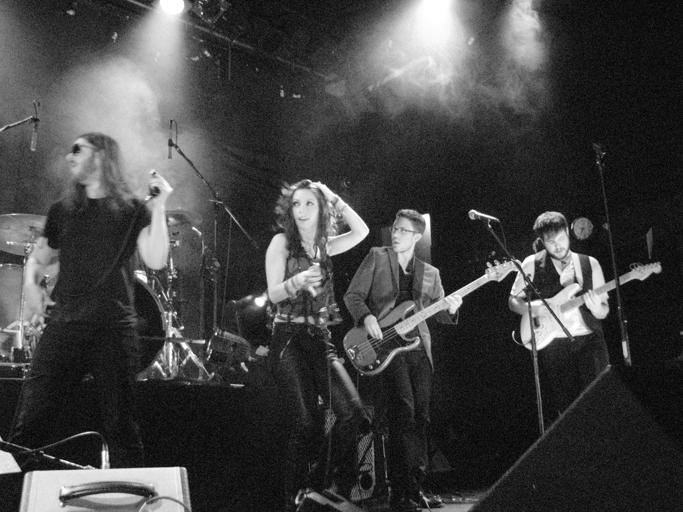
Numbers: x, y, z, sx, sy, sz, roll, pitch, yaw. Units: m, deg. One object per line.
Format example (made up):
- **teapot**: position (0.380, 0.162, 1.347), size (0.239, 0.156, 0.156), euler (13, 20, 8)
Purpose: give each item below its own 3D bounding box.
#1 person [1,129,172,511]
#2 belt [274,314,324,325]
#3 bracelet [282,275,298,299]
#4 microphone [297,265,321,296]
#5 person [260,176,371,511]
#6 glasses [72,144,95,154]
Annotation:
- **person**: position (-1.208, 0.165, 3.071), size (0.694, 1.656, 0.316), euler (3, -16, -11)
- **belt**: position (-0.239, 0.372, 3.673), size (0.290, 0.066, 0.051), euler (-2, -16, 2)
- **bracelet**: position (-0.293, 0.187, 3.704), size (0.104, 0.111, 0.115), euler (2, 6, 42)
- **microphone**: position (-0.160, 0.151, 3.736), size (0.108, 0.189, 0.178), euler (-19, 6, -5)
- **person**: position (-0.160, 0.460, 3.766), size (0.589, 2.003, 0.463), euler (2, -16, -10)
- **glasses**: position (-1.334, -0.541, 3.207), size (0.068, 0.023, 0.069), euler (-3, -8, 42)
